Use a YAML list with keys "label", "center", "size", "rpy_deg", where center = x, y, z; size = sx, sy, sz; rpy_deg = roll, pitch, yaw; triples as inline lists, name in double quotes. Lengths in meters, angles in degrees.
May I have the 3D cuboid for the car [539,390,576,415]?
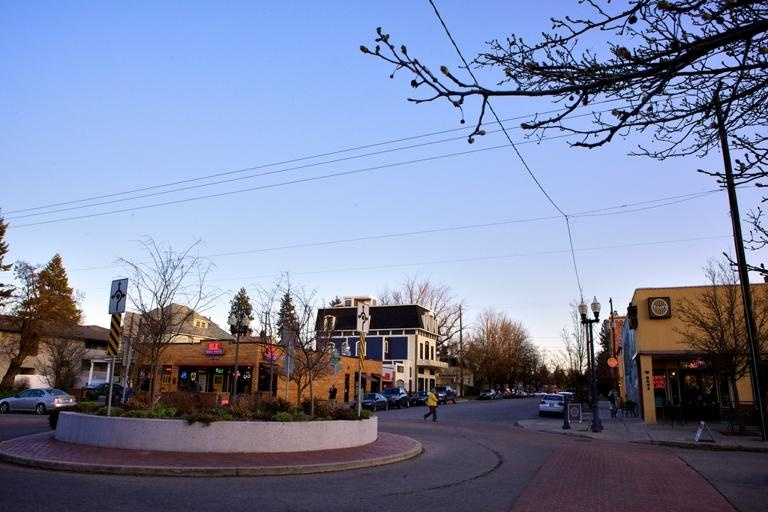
- label: "car"
  center: [11.628, 10.441, 39.813]
  size: [1.647, 1.399, 1.589]
  rpy_deg: [-2, -15, 10]
